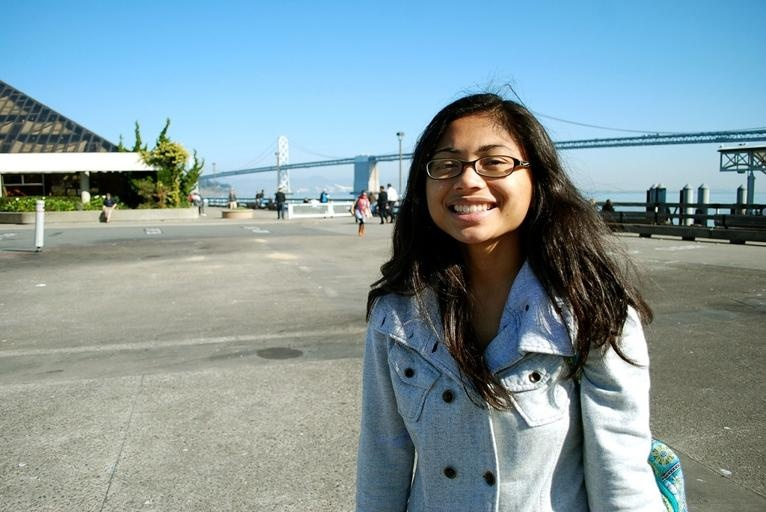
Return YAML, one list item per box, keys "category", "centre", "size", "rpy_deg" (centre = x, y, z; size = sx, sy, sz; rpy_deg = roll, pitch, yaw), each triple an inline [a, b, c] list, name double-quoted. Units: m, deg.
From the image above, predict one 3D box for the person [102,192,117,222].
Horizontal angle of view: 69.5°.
- category: "person"
  centre: [-14.436, -2.528, 29.020]
  size: [0.582, 1.402, 2.911]
  rpy_deg: [-1, 8, -26]
